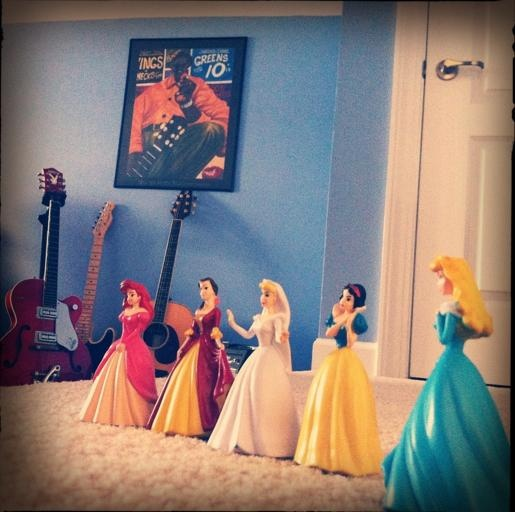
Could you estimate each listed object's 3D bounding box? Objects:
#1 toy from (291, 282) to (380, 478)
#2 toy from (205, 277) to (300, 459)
[{"bbox_3d":[0.459,0.606,2.698,0.413,0.890,0.389,7,5,27],"label":"toy"},{"bbox_3d":[0.014,0.578,2.857,0.468,0.871,0.348,5,4,5],"label":"toy"}]
